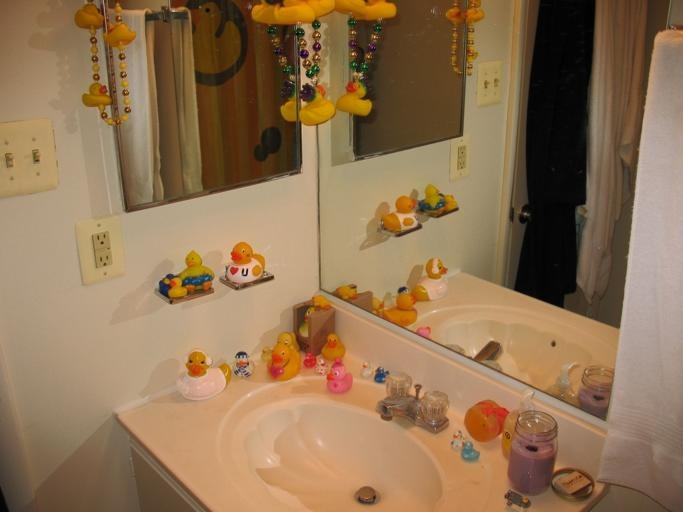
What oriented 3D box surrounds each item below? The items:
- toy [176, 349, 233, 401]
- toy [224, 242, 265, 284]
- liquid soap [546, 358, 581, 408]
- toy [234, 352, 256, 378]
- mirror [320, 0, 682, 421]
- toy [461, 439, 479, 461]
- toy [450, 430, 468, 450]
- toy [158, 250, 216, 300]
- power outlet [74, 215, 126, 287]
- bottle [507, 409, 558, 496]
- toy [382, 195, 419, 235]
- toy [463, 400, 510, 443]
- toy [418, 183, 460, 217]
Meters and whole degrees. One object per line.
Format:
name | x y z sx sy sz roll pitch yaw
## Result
toy | -0.402 0.325 1.486 0.108 0.138 0.154 10 15 31
toy | -0.270 0.018 1.464 0.086 0.117 0.121 14 23 26
liquid soap | 0.531 0.296 1.215 0.069 0.095 0.077 23 34 40
toy | -0.298 0.332 1.513 0.060 0.087 0.044 0 10 -3
mirror | 0.385 -0.115 1.176 0.792 0.877 0.262 22 34 35
toy | 0.323 0.482 1.241 0.045 0.028 0.053 2 21 12
toy | 0.294 0.459 1.267 0.040 0.059 0.036 2 -3 41
toy | -0.406 0.060 1.332 0.135 0.114 0.108 -13 30 -35
power outlet | -0.611 -0.020 1.264 0.015 0.162 0.109 23 29 39
bottle | 0.437 0.447 1.137 0.098 0.171 0.089 -2 19 1
toy | 0.175 -0.122 1.451 0.098 0.109 0.080 -16 37 -9
toy | 0.363 0.411 1.245 0.094 0.110 0.097 -5 14 -9
toy | 0.262 -0.147 1.340 0.036 0.071 0.092 19 5 -34
